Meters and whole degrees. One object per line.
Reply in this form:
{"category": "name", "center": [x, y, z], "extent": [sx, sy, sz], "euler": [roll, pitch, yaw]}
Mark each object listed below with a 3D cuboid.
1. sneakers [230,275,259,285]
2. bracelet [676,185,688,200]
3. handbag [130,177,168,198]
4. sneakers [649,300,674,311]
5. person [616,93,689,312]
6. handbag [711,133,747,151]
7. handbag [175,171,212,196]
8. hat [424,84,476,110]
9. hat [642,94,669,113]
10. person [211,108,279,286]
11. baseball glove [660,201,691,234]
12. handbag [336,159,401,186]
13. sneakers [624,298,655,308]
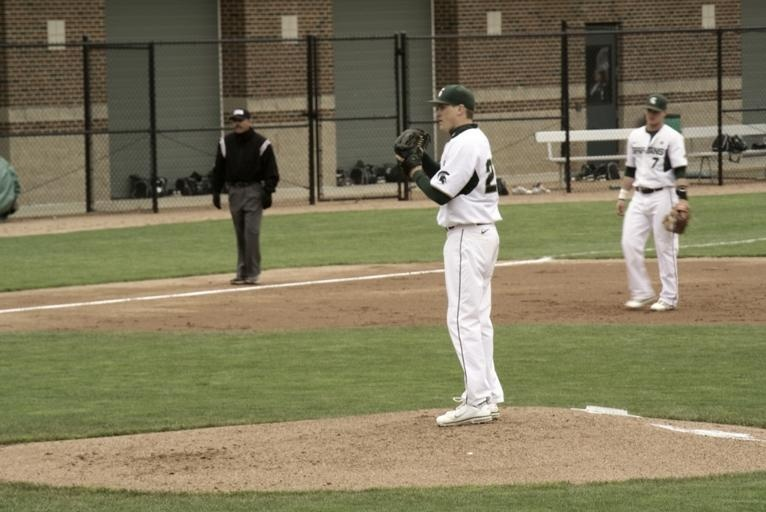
{"category": "sneakers", "center": [-2.390, 0.427, 27.608], "extent": [0.437, 0.178, 0.181], "euler": [2, 0, -10]}
{"category": "bracelet", "center": [4.706, -0.997, 25.125], "extent": [0.189, 0.299, 0.226], "euler": [5, 8, 29]}
{"category": "handbag", "center": [-5.764, -1.639, 38.360], "extent": [0.659, 0.286, 0.647], "euler": [2, -3, -1]}
{"category": "sneakers", "center": [4.436, 0.803, 25.276], "extent": [0.322, 0.124, 0.167], "euler": [0, 11, 5]}
{"category": "person", "center": [4.299, -0.837, 25.351], "extent": [1.171, 3.402, 0.892], "euler": [1, 8, 22]}
{"category": "handbag", "center": [8.770, -2.829, 40.288], "extent": [0.818, 0.348, 0.612], "euler": [2, 5, -7]}
{"category": "handbag", "center": [-4.646, -1.753, 39.293], "extent": [0.823, 0.404, 0.819], "euler": [-2, 0, 22]}
{"category": "hat", "center": [0.947, -2.154, 21.538], "extent": [0.507, 0.262, 0.346], "euler": [3, 10, -2]}
{"category": "hat", "center": [4.332, -2.380, 25.199], "extent": [0.296, 0.206, 0.408], "euler": [21, 23, 19]}
{"category": "person", "center": [-2.374, -1.007, 27.601], "extent": [1.103, 2.982, 0.589], "euler": [-1, 7, 5]}
{"category": "baseball glove", "center": [4.580, -0.560, 24.887], "extent": [0.461, 0.447, 0.333], "euler": [4, -5, -5]}
{"category": "handbag", "center": [-0.440, -2.098, 40.731], "extent": [1.449, 0.517, 1.008], "euler": [-2, 3, -10]}
{"category": "sneakers", "center": [4.098, 0.756, 25.477], "extent": [0.423, 0.183, 0.165], "euler": [-1, 7, -17]}
